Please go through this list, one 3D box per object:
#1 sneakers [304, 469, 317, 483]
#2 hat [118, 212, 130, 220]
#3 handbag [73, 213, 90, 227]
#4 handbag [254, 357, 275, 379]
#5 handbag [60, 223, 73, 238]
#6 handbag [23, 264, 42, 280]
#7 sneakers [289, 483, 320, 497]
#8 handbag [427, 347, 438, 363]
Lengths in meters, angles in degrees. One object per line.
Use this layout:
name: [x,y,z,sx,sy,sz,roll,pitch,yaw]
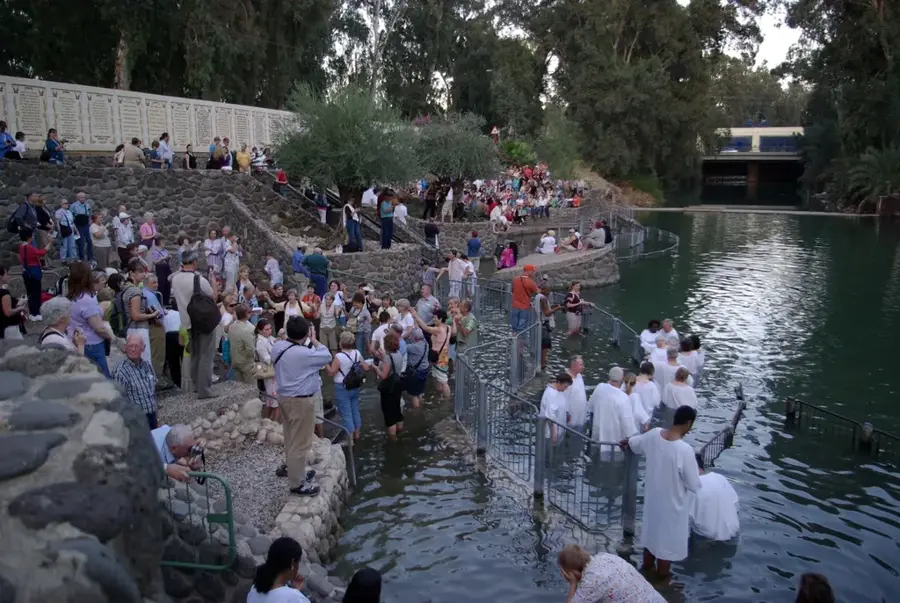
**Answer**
sneakers: [-2.279,2.852,11.205,0.092,0.196,0.367,4,8,18]
hat: [-9.254,-2.437,19.440,0.408,0.220,0.579,-4,6,-38]
handbag: [-9.828,-2.172,18.293,0.287,0.220,0.285,-1,3,-29]
handbag: [-3.489,1.326,12.962,0.217,0.400,0.609,-5,10,-42]
handbag: [-9.980,-1.838,17.934,0.290,0.315,0.221,5,12,13]
handbag: [-9.108,-0.643,14.904,0.280,0.213,0.284,3,1,-31]
sneakers: [-2.299,2.981,10.864,0.469,0.226,0.195,-1,3,-3]
handbag: [-0.365,1.247,15.145,0.193,0.354,0.295,2,7,3]
